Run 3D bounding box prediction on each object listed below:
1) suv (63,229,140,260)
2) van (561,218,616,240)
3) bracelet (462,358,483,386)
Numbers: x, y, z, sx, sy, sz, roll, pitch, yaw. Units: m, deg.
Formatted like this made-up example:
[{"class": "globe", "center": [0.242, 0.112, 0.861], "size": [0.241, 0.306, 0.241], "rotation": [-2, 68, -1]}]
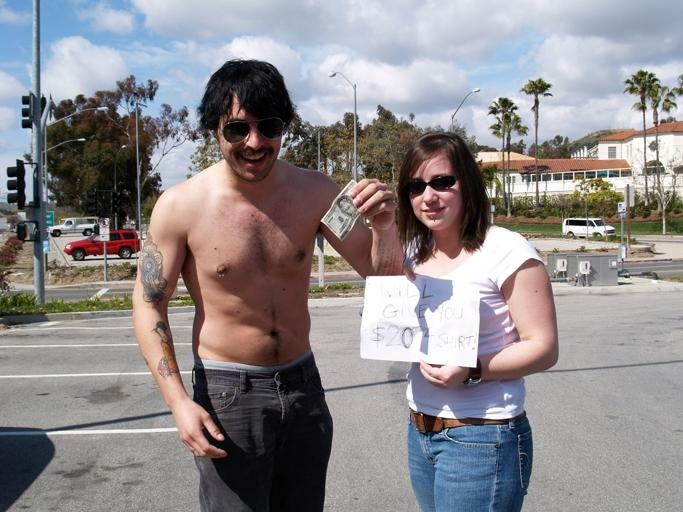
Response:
[{"class": "suv", "center": [-13.750, -0.576, 32.300], "size": [3.989, 1.959, 2.405], "rotation": [2, -2, -15]}, {"class": "van", "center": [19.388, -2.180, 44.599], "size": [1.969, 1.630, 3.229], "rotation": [-3, 1, -43]}, {"class": "bracelet", "center": [0.652, 0.582, 2.821], "size": [0.073, 0.134, 0.119], "rotation": [4, 13, -5]}]
